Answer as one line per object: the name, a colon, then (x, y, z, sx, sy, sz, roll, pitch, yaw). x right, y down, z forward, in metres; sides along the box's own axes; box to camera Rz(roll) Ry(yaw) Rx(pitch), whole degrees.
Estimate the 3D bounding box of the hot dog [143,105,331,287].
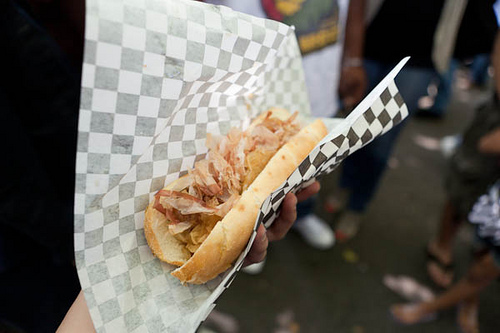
hot dog: (-0.191, 0.108, 4.093, 0.943, 0.763, 2.069, 26, 57, 20)
